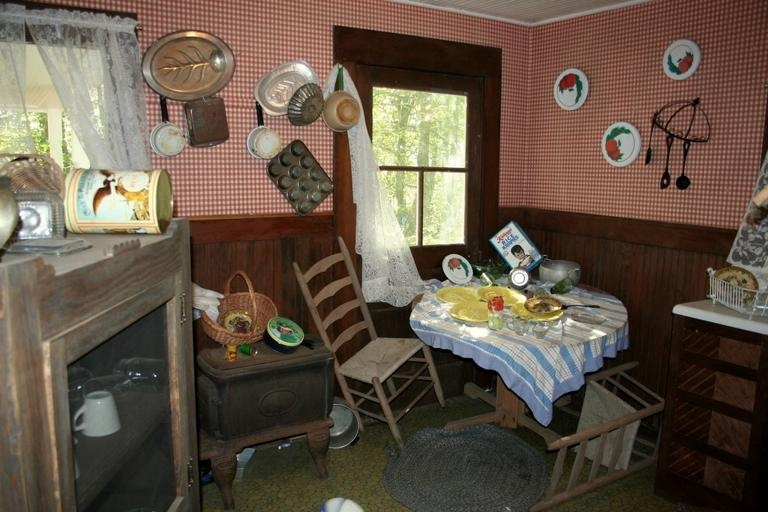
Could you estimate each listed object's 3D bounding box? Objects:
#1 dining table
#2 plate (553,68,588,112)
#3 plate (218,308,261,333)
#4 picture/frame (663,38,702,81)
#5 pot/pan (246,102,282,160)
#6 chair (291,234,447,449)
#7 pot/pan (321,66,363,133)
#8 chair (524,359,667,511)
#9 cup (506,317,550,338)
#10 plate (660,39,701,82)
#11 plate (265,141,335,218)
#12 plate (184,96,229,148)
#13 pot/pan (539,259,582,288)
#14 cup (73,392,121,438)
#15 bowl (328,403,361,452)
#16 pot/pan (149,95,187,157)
[{"bbox_3d":[0.775,0.757,3.469,1.122,0.635,1.197,7,6,19],"label":"dining table"},{"bbox_3d":[1.461,-1.297,4.189,0.038,0.299,0.290,-14,31,-32],"label":"plate"},{"bbox_3d":[-0.950,0.427,3.514,0.194,0.061,0.197,11,22,12],"label":"plate"},{"bbox_3d":[1.994,-1.306,3.571,0.026,0.252,0.243,-18,34,-31],"label":"picture/frame"},{"bbox_3d":[-0.795,-0.825,3.580,0.234,0.350,0.079,-19,16,-29],"label":"pot/pan"},{"bbox_3d":[-0.066,0.593,3.726,0.662,1.215,0.750,-23,20,-35],"label":"chair"},{"bbox_3d":[-0.288,-1.113,3.776,0.298,0.460,0.157,-16,19,-20],"label":"pot/pan"},{"bbox_3d":[1.384,1.106,3.390,1.056,0.336,0.596,-23,28,-15],"label":"chair"},{"bbox_3d":[0.824,0.404,3.120,0.185,0.082,0.114,4,5,31],"label":"cup"},{"bbox_3d":[1.980,-1.311,3.594,0.251,0.265,0.025,-10,14,1],"label":"plate"},{"bbox_3d":[-0.583,-0.539,3.740,0.372,0.513,0.119,-41,26,-10],"label":"plate"},{"bbox_3d":[-1.090,-0.849,3.417,0.285,0.307,0.070,-16,20,-35],"label":"plate"},{"bbox_3d":[1.263,0.116,3.896,0.201,0.133,0.213,0,3,-2],"label":"pot/pan"},{"bbox_3d":[-0.898,0.484,1.643,0.095,0.107,0.149,16,19,31],"label":"cup"},{"bbox_3d":[-0.272,1.146,3.680,0.267,0.298,0.198,-3,19,-3],"label":"bowl"},{"bbox_3d":[-1.381,-0.817,3.414,0.224,0.380,0.082,-7,17,-21],"label":"pot/pan"}]
